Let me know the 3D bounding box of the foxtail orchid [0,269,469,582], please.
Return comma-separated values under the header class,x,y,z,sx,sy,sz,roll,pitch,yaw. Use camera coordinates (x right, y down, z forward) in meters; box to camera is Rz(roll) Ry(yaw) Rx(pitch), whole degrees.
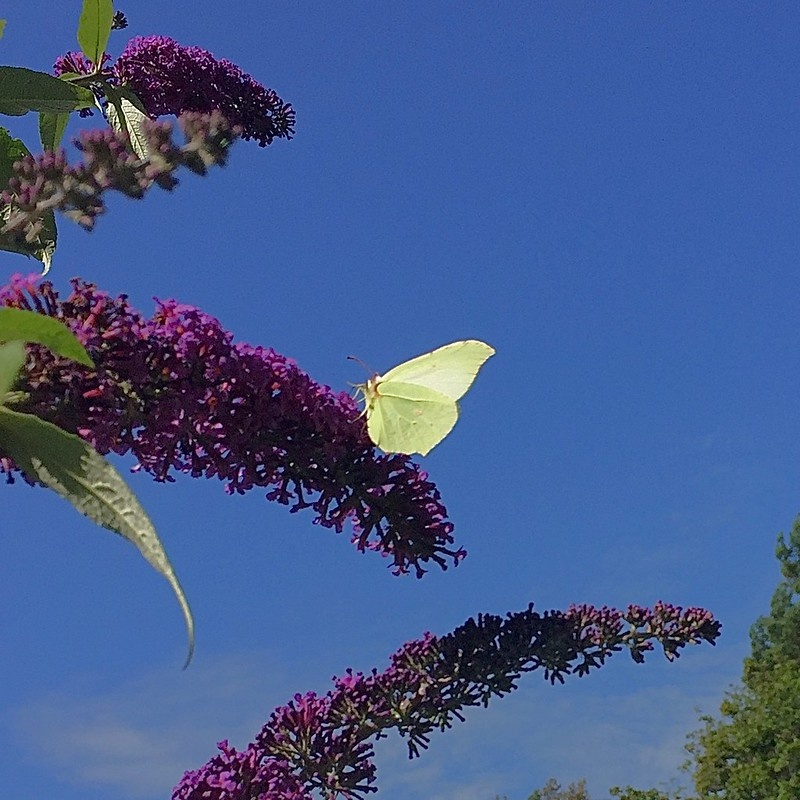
class,x,y,z,sx,sy,sz,roll,pitch,yaw
foxtail orchid,-0.927,0.095,10.969,2.100,0.629,0.544,30,-17,-18
